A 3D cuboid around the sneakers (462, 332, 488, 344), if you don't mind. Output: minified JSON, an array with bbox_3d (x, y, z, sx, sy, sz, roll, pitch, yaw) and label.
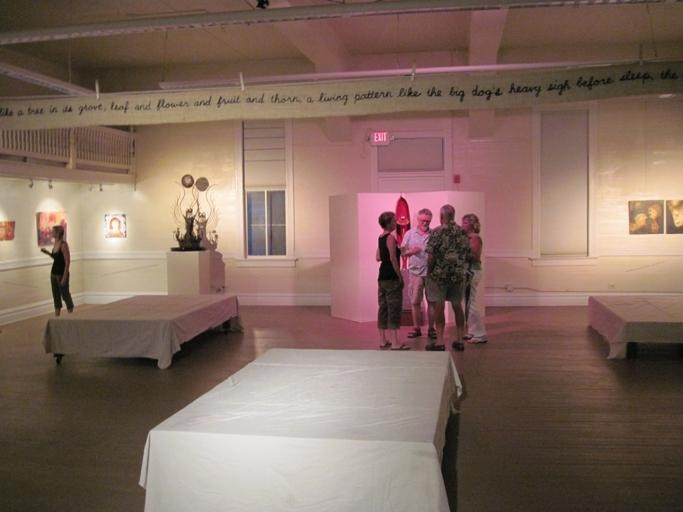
[{"bbox_3d":[1.891,1.172,7.734,0.370,0.160,0.128,2,-2,13],"label":"sneakers"}]

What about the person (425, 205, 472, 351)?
[{"bbox_3d":[1.384,0.313,7.157,0.623,1.930,0.298,-3,6,-24],"label":"person"}]

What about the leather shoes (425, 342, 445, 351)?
[{"bbox_3d":[1.214,1.195,7.119,0.305,0.126,0.172,2,-1,18],"label":"leather shoes"}]

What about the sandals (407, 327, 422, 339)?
[{"bbox_3d":[1.071,1.153,8.050,0.103,0.096,0.217,1,2,-34],"label":"sandals"}]

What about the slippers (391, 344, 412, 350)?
[{"bbox_3d":[0.769,1.189,7.048,0.198,0.062,0.105,-1,2,-10],"label":"slippers"}]
